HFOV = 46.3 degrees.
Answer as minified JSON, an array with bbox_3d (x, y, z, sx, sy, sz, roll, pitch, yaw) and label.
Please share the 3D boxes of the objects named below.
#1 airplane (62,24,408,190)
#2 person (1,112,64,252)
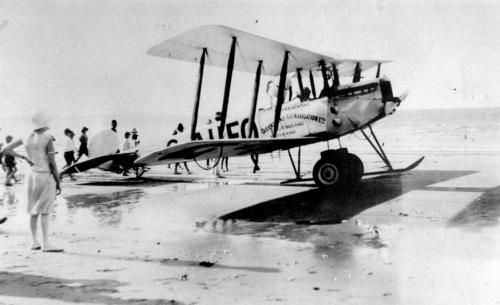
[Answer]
[{"bbox_3d":[-0.173,-0.409,11.354,6.775,2.054,7.801,-5,0,39],"label":"airplane"},{"bbox_3d":[-3.076,0.442,8.393,0.824,1.999,0.579,2,-5,-14],"label":"person"}]
